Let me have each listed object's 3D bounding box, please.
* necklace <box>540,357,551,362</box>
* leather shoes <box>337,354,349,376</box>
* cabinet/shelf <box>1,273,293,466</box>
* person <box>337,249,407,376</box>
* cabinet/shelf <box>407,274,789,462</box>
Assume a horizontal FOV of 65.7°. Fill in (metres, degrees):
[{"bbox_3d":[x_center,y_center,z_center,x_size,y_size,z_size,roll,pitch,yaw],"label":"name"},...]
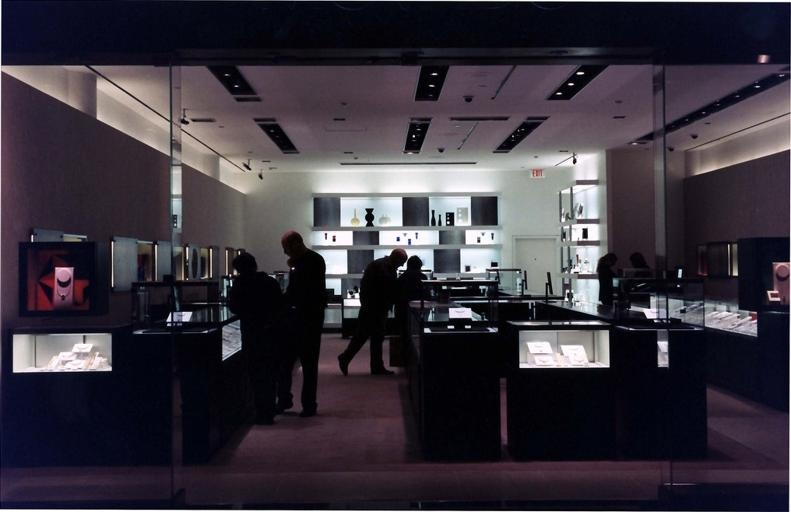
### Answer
[{"bbox_3d":[1.543,1.079,6.362,0.063,0.014,0.057,6,24,23],"label":"necklace"},{"bbox_3d":[-0.764,1.571,8.622,0.124,0.361,0.155,-6,11,17],"label":"leather shoes"},{"bbox_3d":[-2.745,1.101,6.515,1.724,1.144,2.295,-1,-2,-2],"label":"cabinet/shelf"},{"bbox_3d":[-0.345,0.836,8.628,1.009,1.881,0.494,-9,15,-33],"label":"person"},{"bbox_3d":[1.707,1.075,6.713,3.070,1.933,1.833,0,13,0],"label":"cabinet/shelf"}]
